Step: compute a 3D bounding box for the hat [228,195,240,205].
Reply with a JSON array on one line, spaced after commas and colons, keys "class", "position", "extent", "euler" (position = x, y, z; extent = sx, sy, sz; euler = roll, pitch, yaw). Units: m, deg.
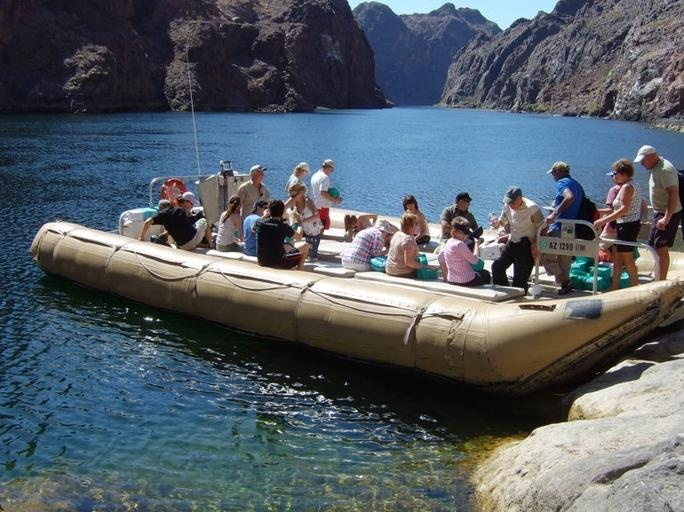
[{"class": "hat", "position": [-1.949, -1.038, 10.352], "extent": [0.172, 0.192, 0.217], "euler": [19, 24, 35]}]

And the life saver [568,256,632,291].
[{"class": "life saver", "position": [3.638, 0.220, 8.360], "extent": [0.585, 0.197, 0.730], "euler": [7, 28, 25]}]

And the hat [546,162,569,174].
[{"class": "hat", "position": [3.129, -1.265, 8.342], "extent": [0.211, 0.200, 0.249], "euler": [3, 13, 5]}]

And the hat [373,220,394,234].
[{"class": "hat", "position": [0.704, -0.506, 9.801], "extent": [0.338, 0.084, 0.289], "euler": [14, 5, -7]}]

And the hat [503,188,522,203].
[{"class": "hat", "position": [2.351, -0.880, 7.951], "extent": [0.185, 0.118, 0.261], "euler": [10, 29, 39]}]

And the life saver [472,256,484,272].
[{"class": "life saver", "position": [1.919, 0.109, 8.218], "extent": [0.191, 0.147, 0.291], "euler": [8, -18, 9]}]

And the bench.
[{"class": "bench", "position": [0.039, 0.303, 9.065], "extent": [5.135, 0.463, 1.483], "euler": [9, 19, 31]}]

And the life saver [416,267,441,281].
[{"class": "life saver", "position": [1.260, 0.240, 8.507], "extent": [0.247, 0.123, 0.216], "euler": [2, 15, 4]}]

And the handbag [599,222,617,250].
[{"class": "handbag", "position": [3.784, -0.306, 8.226], "extent": [0.302, 0.331, 0.295], "euler": [13, -2, 34]}]

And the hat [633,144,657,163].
[{"class": "hat", "position": [4.105, -1.392, 7.811], "extent": [0.194, 0.221, 0.412], "euler": [9, 14, 27]}]
